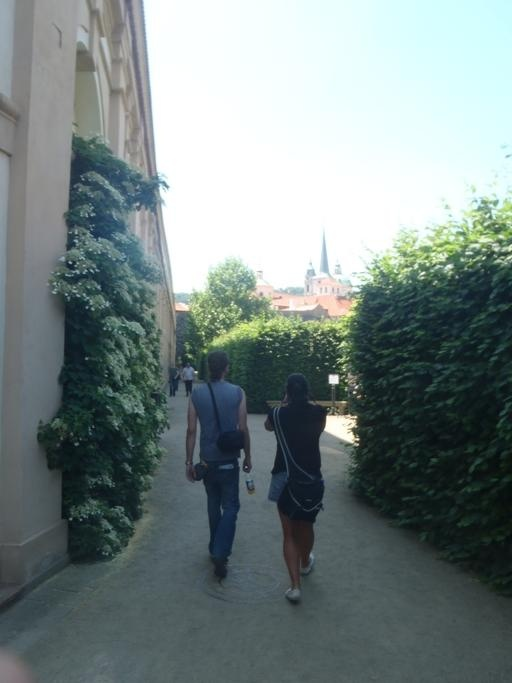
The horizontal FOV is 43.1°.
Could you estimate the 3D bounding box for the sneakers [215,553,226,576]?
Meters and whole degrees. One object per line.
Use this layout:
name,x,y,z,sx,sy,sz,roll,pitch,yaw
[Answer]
sneakers,-0.261,1.684,4.844,0.106,0.144,0.056,11,-13,-36

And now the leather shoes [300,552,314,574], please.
leather shoes,0.417,1.778,5.133,0.066,0.083,0.202,1,13,7

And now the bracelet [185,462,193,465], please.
bracelet,-0.533,0.969,5.162,0.042,0.020,0.048,2,-4,-31

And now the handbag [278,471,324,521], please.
handbag,0.372,1.130,4.599,0.289,0.300,0.303,8,29,-36

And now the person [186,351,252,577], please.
person,-0.289,0.961,5.264,0.540,1.810,0.988,1,2,-5

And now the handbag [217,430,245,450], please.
handbag,-0.204,0.753,5.079,0.198,0.200,0.151,-1,18,-20
